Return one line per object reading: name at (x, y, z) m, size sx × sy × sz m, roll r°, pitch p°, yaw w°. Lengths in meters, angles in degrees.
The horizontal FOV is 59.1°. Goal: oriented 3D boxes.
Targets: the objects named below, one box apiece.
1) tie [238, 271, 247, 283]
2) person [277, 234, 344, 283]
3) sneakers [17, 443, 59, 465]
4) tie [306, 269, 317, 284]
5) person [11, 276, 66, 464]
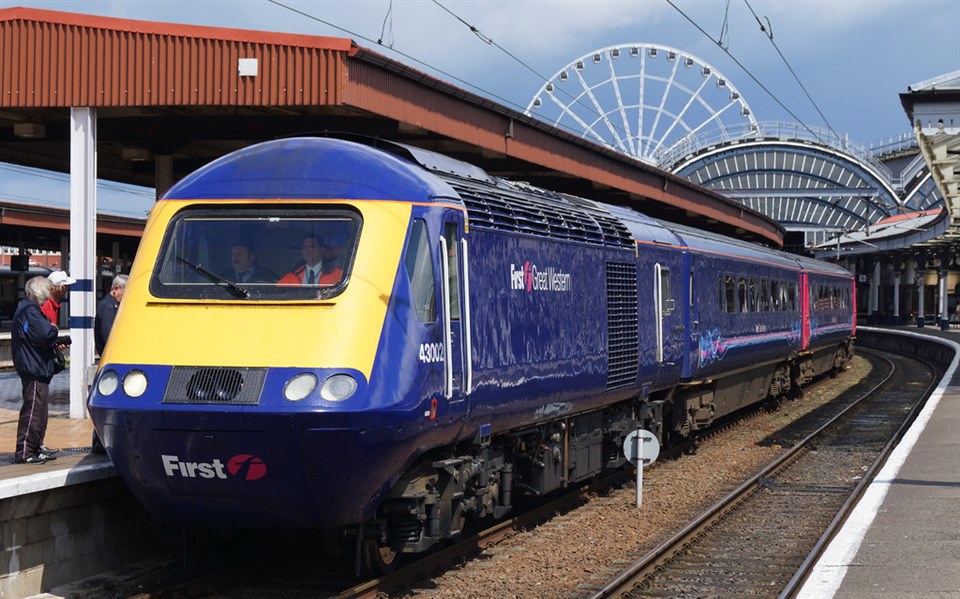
tie at (-2.581, -0.242, 9.217) m, size 0.091 × 0.119 × 0.069 m, roll -1°, pitch -31°, yaw -4°
person at (-1.813, -0.375, 9.229) m, size 0.722 × 0.423 × 0.281 m, roll -3°, pitch 4°, yaw 18°
sneakers at (-5.502, 1.964, 10.564) m, size 0.443 × 0.189 × 0.159 m, roll -3°, pitch -1°, yaw -16°
tie at (-1.817, -0.243, 9.121) m, size 0.098 × 0.152 × 0.122 m, roll 0°, pitch 4°, yaw -33°
person at (-5.535, 0.879, 10.672) m, size 0.617 × 2.307 × 0.568 m, roll 0°, pitch 4°, yaw -29°
